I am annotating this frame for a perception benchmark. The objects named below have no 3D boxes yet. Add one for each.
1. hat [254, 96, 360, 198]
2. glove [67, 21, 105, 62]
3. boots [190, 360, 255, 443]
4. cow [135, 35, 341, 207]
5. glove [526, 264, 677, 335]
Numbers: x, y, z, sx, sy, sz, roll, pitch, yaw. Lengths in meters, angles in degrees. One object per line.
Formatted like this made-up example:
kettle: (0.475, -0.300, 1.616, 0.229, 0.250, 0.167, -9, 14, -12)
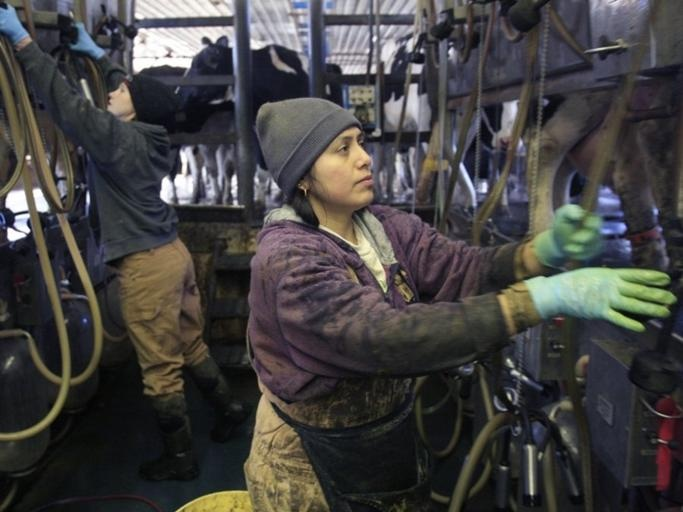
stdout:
hat: (-0.153, -0.410, 2.400, 0.380, 0.343, 0.331, -24, 10, 5)
glove: (-1.667, -1.389, 3.963, 0.232, 0.249, 0.069, 31, -21, -27)
boots: (-0.792, 0.992, 3.980, 0.601, 0.211, 0.427, 35, -3, 37)
cow: (-0.568, -1.480, 5.949, 2.457, 1.546, 0.885, 3, 6, 3)
glove: (0.749, 0.129, 1.750, 0.328, 0.220, 0.131, -12, -29, 26)
